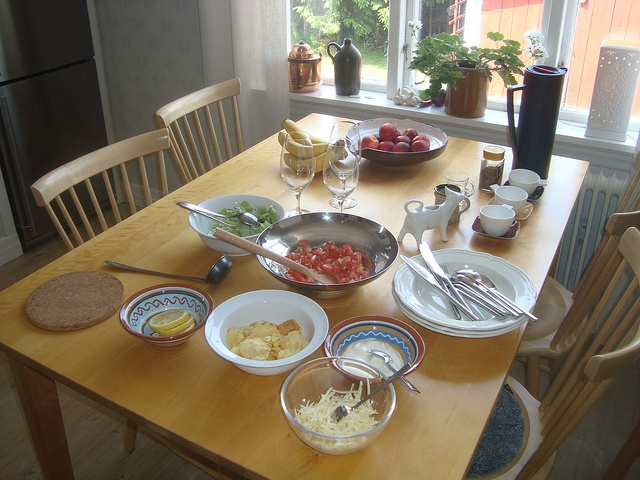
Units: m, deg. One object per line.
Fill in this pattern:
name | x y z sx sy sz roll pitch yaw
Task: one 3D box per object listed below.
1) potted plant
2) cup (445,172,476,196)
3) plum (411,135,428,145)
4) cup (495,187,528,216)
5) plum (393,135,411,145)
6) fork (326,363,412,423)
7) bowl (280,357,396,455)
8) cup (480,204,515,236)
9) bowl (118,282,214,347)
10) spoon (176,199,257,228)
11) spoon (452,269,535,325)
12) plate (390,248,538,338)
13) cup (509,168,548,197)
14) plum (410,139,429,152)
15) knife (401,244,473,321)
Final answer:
potted plant | 0.762 -0.905 2.388 0.472 0.382 0.533 25 45 30
cup | 0.487 -0.199 1.683 0.104 0.081 0.070 20 53 29
plum | 0.398 -0.393 1.868 0.053 0.030 0.045 -7 7 -40
cup | 0.635 -0.145 1.578 0.075 0.059 0.119 -3 34 0
plum | 0.322 -0.389 1.855 0.042 0.050 0.047 3 -7 -27
fork | 0.096 0.322 0.982 0.151 0.021 0.032 -40 86 -14
bowl | 0.036 0.272 0.899 0.183 0.086 0.186 1 37 -1
cup | 0.550 -0.061 1.476 0.074 0.060 0.121 5 31 16
bowl | -0.383 0.134 1.115 0.157 0.068 0.166 6 37 -5
spoon | -0.310 -0.078 1.477 0.208 0.031 0.053 14 44 -12
spoon | 0.443 0.153 1.221 0.050 0.024 0.185 -18 42 -31
plate | 0.367 0.143 1.238 0.252 0.037 0.255 -22 39 -29
cup | 0.727 -0.214 1.696 0.082 0.059 0.125 6 33 11
plum | 0.384 -0.364 1.834 0.052 0.057 0.054 23 32 39
knife | 0.302 0.098 1.265 0.077 0.016 0.285 -27 56 -13
